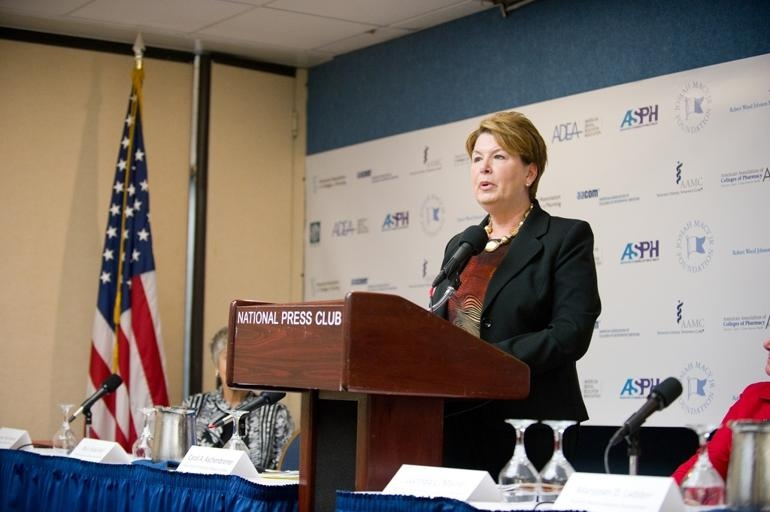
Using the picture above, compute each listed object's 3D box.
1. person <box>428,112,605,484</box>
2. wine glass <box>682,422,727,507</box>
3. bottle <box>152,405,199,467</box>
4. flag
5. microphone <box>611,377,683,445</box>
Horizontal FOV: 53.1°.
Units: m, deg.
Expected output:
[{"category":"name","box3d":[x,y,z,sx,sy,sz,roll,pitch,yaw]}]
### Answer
[{"category":"person","box3d":[0.489,0.120,2.931,0.622,1.435,0.534,-1,-4,15]},{"category":"wine glass","box3d":[0.911,0.598,2.217,0.116,0.213,0.236,-1,-5,21]},{"category":"bottle","box3d":[-0.854,0.726,3.115,0.220,0.231,0.138,3,-3,-24]},{"category":"flag","box3d":[-1.865,0.026,5.703,0.553,2.802,0.387,2,-4,-23]},{"category":"microphone","box3d":[0.873,0.505,2.558,0.204,0.200,0.367,-2,-5,27]}]
